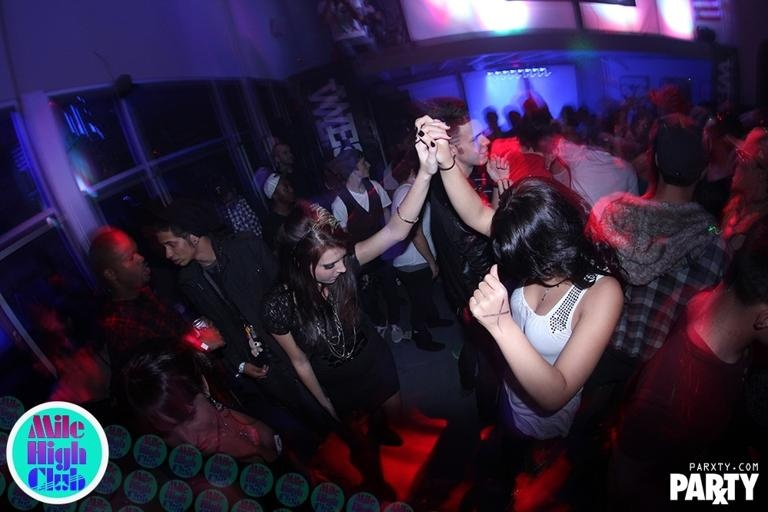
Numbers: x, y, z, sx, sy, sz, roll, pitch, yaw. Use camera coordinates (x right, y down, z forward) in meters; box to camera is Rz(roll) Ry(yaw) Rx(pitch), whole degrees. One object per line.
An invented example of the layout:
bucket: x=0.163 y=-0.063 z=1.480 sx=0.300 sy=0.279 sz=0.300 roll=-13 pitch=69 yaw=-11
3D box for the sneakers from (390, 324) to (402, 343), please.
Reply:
sneakers: x=0.148 y=0.820 z=4.800 sx=0.122 sy=0.177 sz=0.052 roll=-8 pitch=-18 yaw=1

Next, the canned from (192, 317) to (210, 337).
canned: x=-1.400 y=0.536 z=3.447 sx=0.103 sy=0.089 sz=0.121 roll=12 pitch=-14 yaw=-23

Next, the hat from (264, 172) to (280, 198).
hat: x=-1.141 y=-0.732 z=4.575 sx=0.087 sy=0.237 sz=0.179 roll=14 pitch=19 yaw=-39
